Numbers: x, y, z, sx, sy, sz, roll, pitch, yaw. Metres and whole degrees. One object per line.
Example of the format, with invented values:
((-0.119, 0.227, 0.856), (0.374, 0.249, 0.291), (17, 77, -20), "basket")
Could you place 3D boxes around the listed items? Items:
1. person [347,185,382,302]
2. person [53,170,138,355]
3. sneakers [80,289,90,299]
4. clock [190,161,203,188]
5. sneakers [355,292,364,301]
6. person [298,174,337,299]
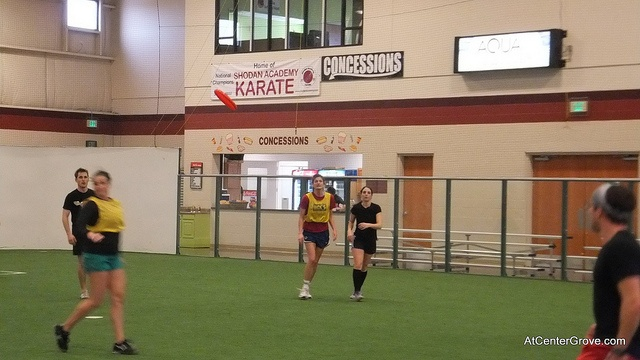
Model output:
((1.162, 1.689, 17.646), (0.800, 2.998, 0.718), (1, 6, -1), "person")
((-4.513, 1.699, 13.609), (1.492, 3.762, 0.640), (1, 6, -4), "person")
((-6.129, 2.987, 17.289), (0.209, 0.210, 0.483), (3, -10, -23), "sneakers")
((-5.256, -0.168, 28.108), (0.532, 1.095, 2.012), (0, 5, -12), "clock")
((1.076, 3.085, 17.656), (0.149, 0.245, 0.476), (4, 6, 26), "sneakers")
((-0.088, 1.524, 17.744), (0.967, 3.366, 0.980), (1, 6, 0), "person")
